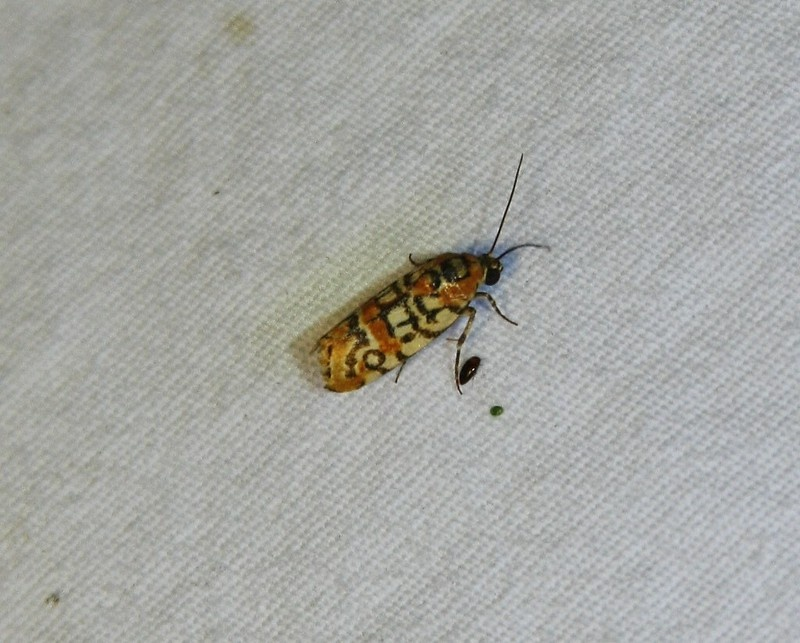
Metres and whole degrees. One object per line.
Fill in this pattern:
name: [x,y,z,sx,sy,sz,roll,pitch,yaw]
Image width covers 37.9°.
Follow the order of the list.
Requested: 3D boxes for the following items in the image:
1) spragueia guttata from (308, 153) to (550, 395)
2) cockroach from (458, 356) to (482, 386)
spragueia guttata: [0.130,-0.032,4.217,0.975,0.206,0.461,-42,84,-4]
cockroach: [0.256,0.178,4.275,0.064,0.030,0.104,37,93,-1]
